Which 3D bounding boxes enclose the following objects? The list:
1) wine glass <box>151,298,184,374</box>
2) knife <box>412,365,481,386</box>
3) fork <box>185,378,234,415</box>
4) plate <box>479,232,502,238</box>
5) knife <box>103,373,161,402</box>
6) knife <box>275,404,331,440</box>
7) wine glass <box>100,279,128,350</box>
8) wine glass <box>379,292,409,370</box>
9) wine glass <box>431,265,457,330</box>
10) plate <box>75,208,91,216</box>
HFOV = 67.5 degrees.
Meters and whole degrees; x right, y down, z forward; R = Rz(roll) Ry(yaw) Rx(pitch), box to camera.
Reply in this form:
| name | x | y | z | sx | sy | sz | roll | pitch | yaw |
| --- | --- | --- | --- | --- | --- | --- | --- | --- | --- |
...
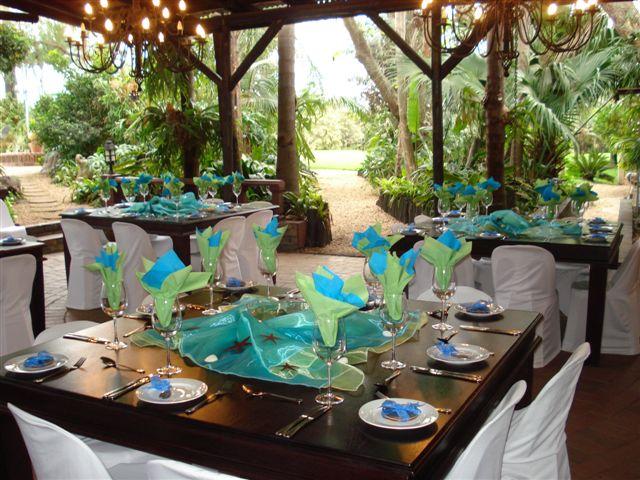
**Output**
| name | x | y | z | sx | sy | sz | roll | pitch | yaw |
| --- | --- | --- | --- | --- | --- | --- | --- | --- | --- |
| wine glass | -0.588 | 0.343 | 1.846 | 0.104 | 0.292 | 0.260 | -6 | 14 | -20 |
| knife | 0.463 | 0.492 | 1.756 | 0.259 | 0.014 | 0.062 | 3 | 13 | 19 |
| fork | -0.358 | 0.517 | 1.605 | 0.041 | 0.032 | 0.212 | 18 | 19 | 32 |
| plate | 1.500 | -0.043 | 4.146 | 0.196 | 0.028 | 0.214 | 3 | 13 | 19 |
| knife | -0.652 | 0.515 | 1.655 | 0.040 | 0.022 | 0.254 | 3 | 7 | 22 |
| knife | -0.061 | 0.528 | 1.417 | 0.050 | 0.011 | 0.226 | 7 | 5 | 27 |
| wine glass | -0.906 | 0.294 | 2.097 | 0.097 | 0.291 | 0.319 | -7 | 14 | -25 |
| wine glass | 0.293 | 0.322 | 1.892 | 0.101 | 0.297 | 0.304 | 1 | 13 | 9 |
| wine glass | 0.597 | 0.247 | 2.290 | 0.103 | 0.315 | 0.418 | 2 | 13 | 15 |
| plate | -2.657 | -0.325 | 5.395 | 0.126 | 0.053 | 0.132 | 5 | 8 | 20 |
